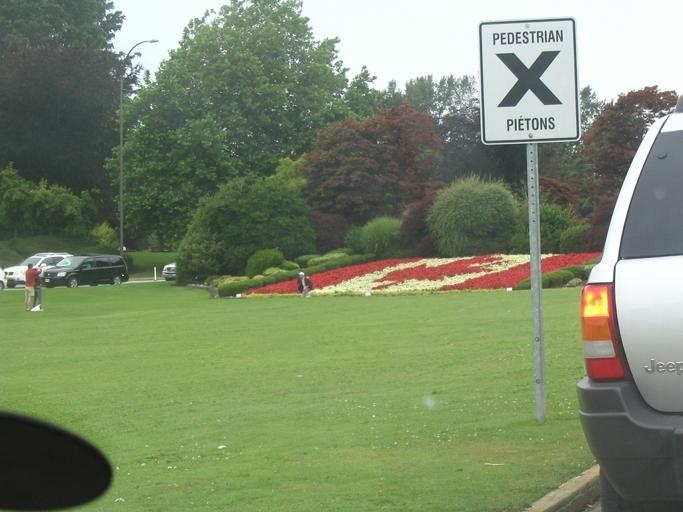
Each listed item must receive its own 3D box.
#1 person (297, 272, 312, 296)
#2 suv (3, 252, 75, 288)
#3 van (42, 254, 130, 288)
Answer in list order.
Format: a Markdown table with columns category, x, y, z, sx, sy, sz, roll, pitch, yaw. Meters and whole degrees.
| category | x | y | z | sx | sy | sz | roll | pitch | yaw |
| --- | --- | --- | --- | --- | --- | --- | --- | --- | --- |
| person | -1.302 | 0.841 | 39.042 | 0.440 | 0.884 | 1.611 | -4 | 8 | -3 |
| suv | -12.740 | 0.572 | 50.853 | 1.503 | 1.171 | 2.886 | -3 | -5 | 32 |
| van | -11.343 | 0.768 | 52.856 | 0.946 | 1.667 | 5.483 | 0 | 8 | 20 |
